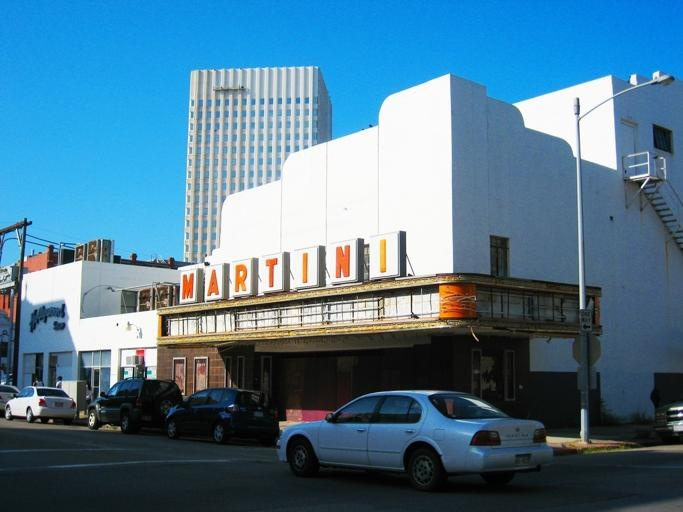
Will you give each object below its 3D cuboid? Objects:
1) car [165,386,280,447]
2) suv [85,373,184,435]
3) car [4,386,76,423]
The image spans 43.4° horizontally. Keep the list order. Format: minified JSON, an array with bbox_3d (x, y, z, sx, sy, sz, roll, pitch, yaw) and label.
[{"bbox_3d":[-4.314,5.822,31.118,3.454,1.500,2.068,-6,-14,42],"label":"car"},{"bbox_3d":[-9.182,6.417,36.383,5.535,2.266,1.904,-12,-15,38],"label":"suv"},{"bbox_3d":[-14.935,7.354,41.819,1.672,1.349,3.849,8,-10,-36],"label":"car"}]
